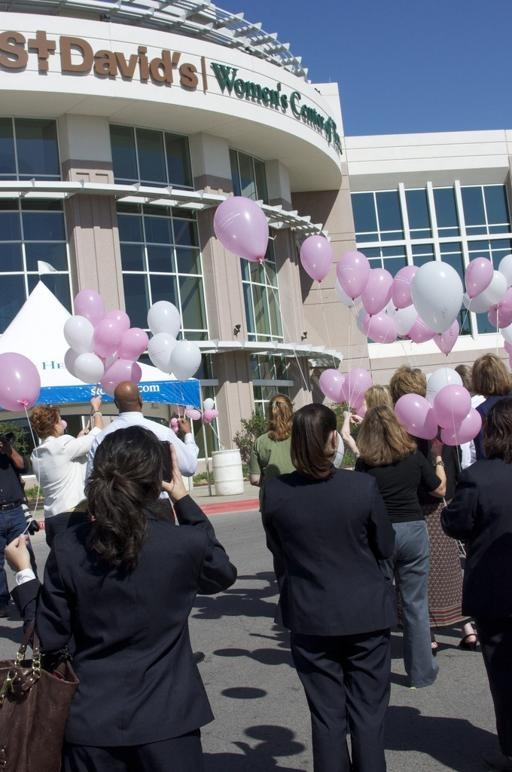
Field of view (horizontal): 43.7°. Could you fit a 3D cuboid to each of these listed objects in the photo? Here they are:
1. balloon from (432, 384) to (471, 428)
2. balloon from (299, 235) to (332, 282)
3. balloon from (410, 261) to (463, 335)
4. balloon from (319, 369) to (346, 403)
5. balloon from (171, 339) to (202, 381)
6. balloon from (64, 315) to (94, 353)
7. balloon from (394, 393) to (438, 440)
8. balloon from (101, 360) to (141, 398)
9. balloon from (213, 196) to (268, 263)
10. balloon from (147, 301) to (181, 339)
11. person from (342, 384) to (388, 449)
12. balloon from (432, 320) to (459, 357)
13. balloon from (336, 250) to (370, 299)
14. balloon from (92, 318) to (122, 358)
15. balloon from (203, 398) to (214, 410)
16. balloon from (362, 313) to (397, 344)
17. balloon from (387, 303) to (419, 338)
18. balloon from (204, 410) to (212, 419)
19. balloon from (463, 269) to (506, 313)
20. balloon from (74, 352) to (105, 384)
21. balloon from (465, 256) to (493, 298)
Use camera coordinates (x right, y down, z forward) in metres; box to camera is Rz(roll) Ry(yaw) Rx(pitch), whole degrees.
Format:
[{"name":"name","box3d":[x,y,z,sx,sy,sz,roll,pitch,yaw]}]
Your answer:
[{"name":"balloon","box3d":[1.324,0.138,4.470,0.262,0.326,0.275,14,5,36]},{"name":"balloon","box3d":[0.731,-1.595,7.787,0.349,0.620,0.433,-4,-7,4]},{"name":"balloon","box3d":[1.685,-0.878,5.980,0.443,0.672,0.634,-5,-7,14]},{"name":"balloon","box3d":[0.836,-0.012,7.011,0.270,0.413,0.677,-4,-7,7]},{"name":"balloon","box3d":[-0.909,-0.359,8.162,0.367,0.549,0.832,-2,-7,-7]},{"name":"balloon","box3d":[-2.135,-0.615,7.744,0.325,0.558,0.517,-1,-8,-18]},{"name":"balloon","box3d":[1.104,0.226,4.414,0.193,0.314,0.185,-38,-8,-25]},{"name":"balloon","box3d":[-1.249,-0.075,5.895,0.332,0.255,0.258,-14,-40,25]},{"name":"balloon","box3d":[-0.143,-1.579,6.200,0.500,0.632,0.432,1,-8,-29]},{"name":"balloon","box3d":[-1.235,-0.885,8.593,0.491,0.572,0.484,-13,4,-8]},{"name":"person","box3d":[0.949,0.244,5.166,0.339,0.283,0.991,1,-26,20]},{"name":"balloon","box3d":[2.112,-0.506,7.315,0.385,0.443,0.136,-16,18,-36]},{"name":"balloon","box3d":[1.124,-1.332,7.457,0.343,0.569,0.507,-3,-7,-5]},{"name":"balloon","box3d":[-1.627,-0.530,7.059,0.257,0.436,0.315,2,-9,-37]},{"name":"balloon","box3d":[-1.354,0.536,18.350,0.345,0.388,0.338,5,29,2]},{"name":"balloon","box3d":[1.567,-0.752,8.004,0.383,0.406,0.481,-5,-7,12]},{"name":"balloon","box3d":[1.882,-0.818,8.036,0.418,0.582,0.312,1,7,27]},{"name":"balloon","box3d":[-1.221,0.763,16.429,0.231,0.262,0.543,-3,-7,-4]},{"name":"balloon","box3d":[2.630,-1.000,7.326,0.465,0.462,0.431,9,-22,-38]},{"name":"balloon","box3d":[-1.821,-0.198,7.033,0.241,0.237,0.283,-7,-47,16]},{"name":"balloon","box3d":[2.404,-1.186,6.897,0.294,0.394,0.522,-6,-8,20]}]
